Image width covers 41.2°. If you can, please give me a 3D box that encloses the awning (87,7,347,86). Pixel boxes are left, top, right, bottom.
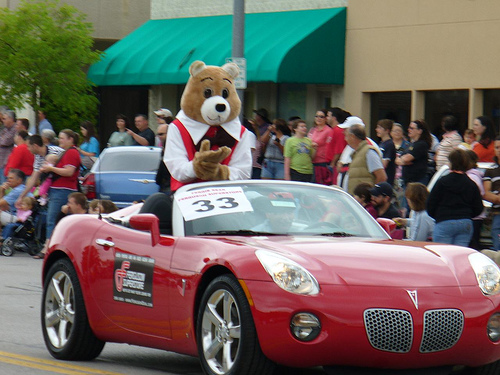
[{"bbox_3d":[-0.851,-4.066,19.618,7.193,2.731,2.556,-2,2,36],"label":"awning"}]

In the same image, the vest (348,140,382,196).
[{"bbox_3d":[1.729,-0.323,10.365,0.490,0.895,0.498,-8,12,-29],"label":"vest"}]

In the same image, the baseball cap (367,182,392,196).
[{"bbox_3d":[1.739,0.024,8.727,0.326,0.176,0.218,-5,3,-37],"label":"baseball cap"}]

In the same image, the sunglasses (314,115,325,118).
[{"bbox_3d":[1.412,-1.423,13.340,0.209,0.058,0.133,-2,2,31],"label":"sunglasses"}]

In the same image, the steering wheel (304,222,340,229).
[{"bbox_3d":[0.601,0.314,5.505,0.342,0.057,0.075,-5,3,-37],"label":"steering wheel"}]

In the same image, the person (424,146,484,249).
[{"bbox_3d":[2.683,0.413,8.741,0.711,1.842,0.619,1,6,-10],"label":"person"}]

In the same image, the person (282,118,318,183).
[{"bbox_3d":[1.060,-0.396,13.456,0.762,1.851,0.670,-4,11,-12],"label":"person"}]

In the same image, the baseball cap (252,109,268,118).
[{"bbox_3d":[0.273,-1.758,15.808,0.315,0.230,0.423,-3,2,1],"label":"baseball cap"}]

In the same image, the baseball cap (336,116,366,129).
[{"bbox_3d":[1.805,-1.161,11.722,0.494,0.191,0.314,1,2,-3],"label":"baseball cap"}]

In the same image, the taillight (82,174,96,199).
[{"bbox_3d":[-3.256,-0.024,13.412,0.202,0.391,0.348,-2,2,20],"label":"taillight"}]

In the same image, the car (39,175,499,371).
[{"bbox_3d":[-0.117,0.764,5.249,1.735,1.132,3.142,7,-11,-36],"label":"car"}]

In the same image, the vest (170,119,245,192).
[{"bbox_3d":[-0.564,-0.415,7.049,0.543,0.832,0.587,12,17,42],"label":"vest"}]
